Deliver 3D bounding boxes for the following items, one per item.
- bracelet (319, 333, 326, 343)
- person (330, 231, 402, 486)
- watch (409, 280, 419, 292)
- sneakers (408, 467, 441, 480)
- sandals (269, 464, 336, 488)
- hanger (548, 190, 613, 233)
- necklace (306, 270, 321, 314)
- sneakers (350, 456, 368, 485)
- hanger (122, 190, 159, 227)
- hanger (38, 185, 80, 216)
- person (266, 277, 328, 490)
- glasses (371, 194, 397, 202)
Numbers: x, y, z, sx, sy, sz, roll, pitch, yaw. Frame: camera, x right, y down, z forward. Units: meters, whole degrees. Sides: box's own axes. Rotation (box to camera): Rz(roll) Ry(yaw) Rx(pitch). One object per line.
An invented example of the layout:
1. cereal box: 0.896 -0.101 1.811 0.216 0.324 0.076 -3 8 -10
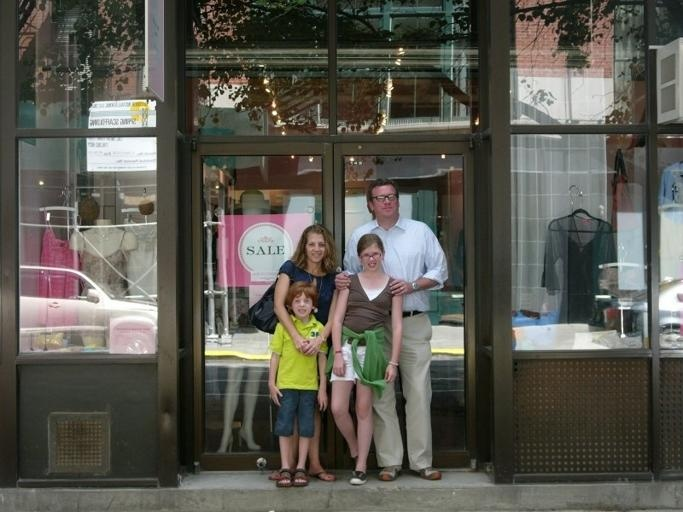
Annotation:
1. bracelet: -0.164 0.674 7.381 0.040 0.042 0.053 11 -17 -37
2. person: 0.216 0.859 7.507 0.599 2.093 0.356 -1 -1 4
3. watch: 0.616 0.251 7.533 0.099 0.087 0.051 -1 -1 -42
4. sneakers: 0.714 1.841 7.581 0.255 0.111 0.097 -3 -3 30
5. sandals: -0.317 1.845 7.419 0.398 0.106 0.217 5 -7 -16
6. hanger: 2.083 -0.385 7.741 0.585 0.423 0.051 5 20 37
7. necklace: -0.245 0.300 7.446 0.162 0.247 0.094 -3 -5 21
8. sneakers: 0.142 1.804 7.494 0.153 0.217 0.233 -1 0 2
9. hanger: -1.738 -0.445 7.606 0.298 0.142 0.189 3 -5 33
10. hanger: -2.433 -0.476 7.671 0.245 0.265 0.103 4 -3 -10
11. person: -0.365 1.062 7.445 0.483 1.694 0.263 -1 -1 -2
12. glasses: 0.375 -0.506 7.635 0.197 0.064 0.058 -1 0 -1
